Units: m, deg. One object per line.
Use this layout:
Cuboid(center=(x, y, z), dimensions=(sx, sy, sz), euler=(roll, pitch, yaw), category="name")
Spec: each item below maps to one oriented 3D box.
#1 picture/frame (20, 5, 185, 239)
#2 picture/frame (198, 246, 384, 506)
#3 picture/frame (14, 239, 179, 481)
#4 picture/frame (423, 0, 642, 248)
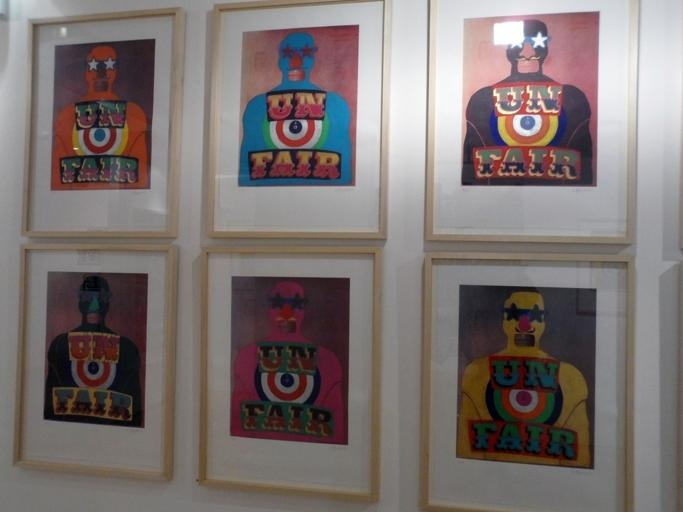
Cuboid(center=(-0.700, -0.396, 2.462), dimensions=(0.589, 0.955, 0.033), euler=(1, 1, 12), category="picture/frame")
Cuboid(center=(-0.124, 0.350, 2.384), dimensions=(0.627, 0.977, 0.037), euler=(2, 3, 11), category="picture/frame")
Cuboid(center=(-0.718, 0.312, 2.462), dimensions=(0.599, 0.930, 0.031), euler=(2, 3, 12), category="picture/frame")
Cuboid(center=(0.572, -0.374, 2.315), dimensions=(0.587, 0.938, 0.029), euler=(1, -5, 4), category="picture/frame")
